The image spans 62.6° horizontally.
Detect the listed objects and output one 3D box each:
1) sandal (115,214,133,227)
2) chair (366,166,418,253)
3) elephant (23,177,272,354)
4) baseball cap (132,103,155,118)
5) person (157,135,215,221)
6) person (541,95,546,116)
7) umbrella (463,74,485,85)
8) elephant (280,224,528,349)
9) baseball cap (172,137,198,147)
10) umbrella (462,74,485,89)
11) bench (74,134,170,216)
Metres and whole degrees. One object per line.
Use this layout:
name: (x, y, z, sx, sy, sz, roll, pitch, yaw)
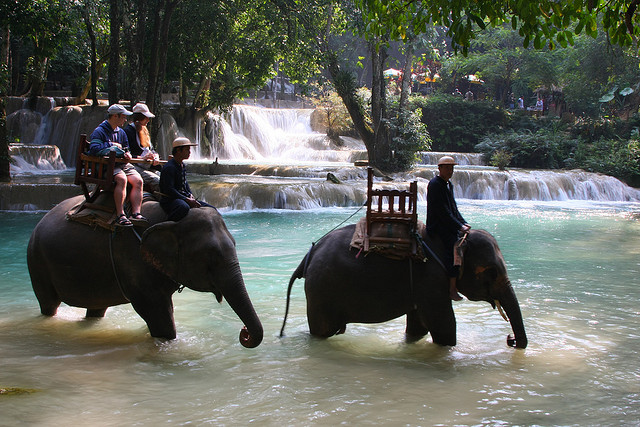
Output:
sandal: (-2.278, 0.080, 6.117, 0.242, 0.100, 0.093, -1, 0, 35)
chair: (0.855, -0.014, 6.427, 0.765, 1.008, 0.753, 5, -6, -13)
elephant: (-2.079, 0.548, 6.960, 3.581, 1.950, 1.511, 6, 9, 15)
baseball cap: (-2.325, -1.347, 6.909, 0.358, 0.171, 0.224, 2, 11, -11)
person: (-1.574, -0.342, 6.358, 0.715, 1.084, 0.623, 3, 6, -28)
person: (16.527, -8.065, 38.794, 0.230, 1.007, 0.800, 6, 12, 20)
umbrella: (11.596, -10.060, 39.871, 1.508, 0.573, 1.473, 2, 11, -22)
elephant: (1.055, 0.892, 6.449, 2.854, 1.574, 0.993, 0, 8, 10)
baseball cap: (-1.641, -0.841, 6.272, 0.202, 0.075, 0.138, -4, 3, 1)
umbrella: (11.469, -9.877, 39.085, 1.168, 0.744, 1.032, 28, 11, 18)
bench: (-2.656, -0.483, 6.653, 0.871, 0.710, 0.636, 9, -2, -9)
